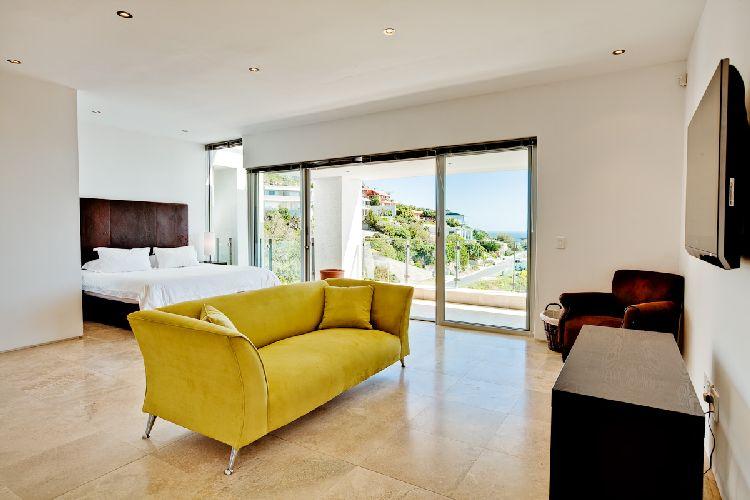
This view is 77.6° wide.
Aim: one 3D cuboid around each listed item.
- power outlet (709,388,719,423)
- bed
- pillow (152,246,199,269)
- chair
[{"bbox_3d":[2.582,1.189,3.542,0.041,0.204,0.300,-2,1,29],"label":"power outlet"},{"bbox_3d":[-3.239,0.131,7.401,2.359,1.724,2.413,0,0,30],"label":"bed"},{"bbox_3d":[-3.477,0.136,8.139,0.608,0.389,0.160,-2,-20,-42],"label":"pillow"},{"bbox_3d":[2.714,0.623,5.078,1.327,1.212,1.088,7,-8,-29],"label":"chair"}]
